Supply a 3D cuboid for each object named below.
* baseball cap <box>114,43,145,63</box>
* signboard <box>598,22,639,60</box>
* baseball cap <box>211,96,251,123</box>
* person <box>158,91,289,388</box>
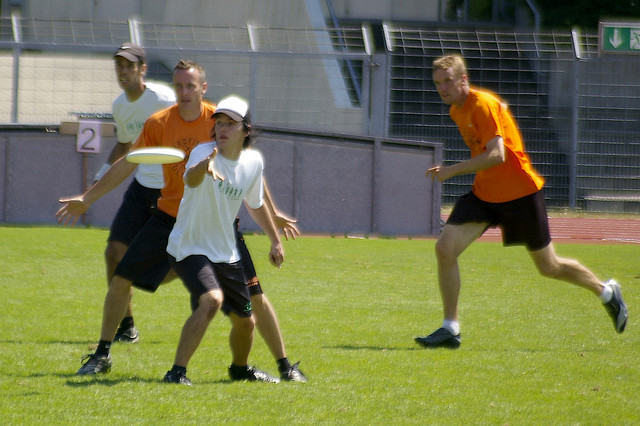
[{"bbox_3d":[-2.602,-2.146,13.947,0.328,0.214,0.399,3,14,12],"label":"baseball cap"},{"bbox_3d":[7.405,-4.270,25.532,1.447,0.851,0.398,-11,18,-41],"label":"signboard"},{"bbox_3d":[-1.119,-1.254,12.632,0.486,0.291,0.297,-1,14,-6],"label":"baseball cap"},{"bbox_3d":[-1.200,0.353,12.563,1.440,3.386,0.950,-2,14,-11],"label":"person"}]
